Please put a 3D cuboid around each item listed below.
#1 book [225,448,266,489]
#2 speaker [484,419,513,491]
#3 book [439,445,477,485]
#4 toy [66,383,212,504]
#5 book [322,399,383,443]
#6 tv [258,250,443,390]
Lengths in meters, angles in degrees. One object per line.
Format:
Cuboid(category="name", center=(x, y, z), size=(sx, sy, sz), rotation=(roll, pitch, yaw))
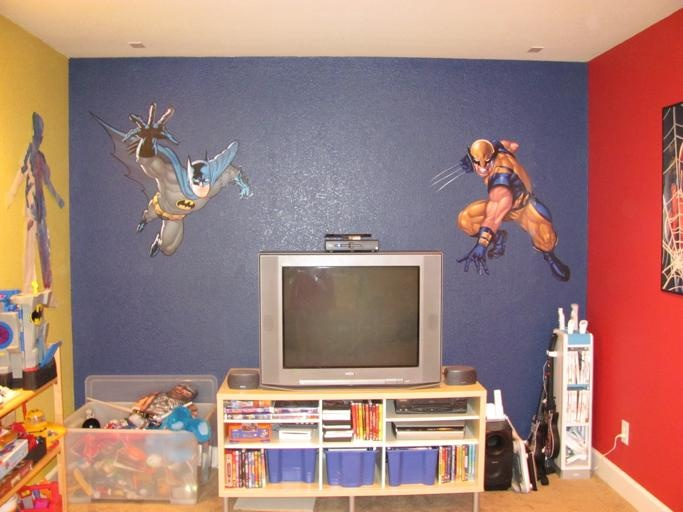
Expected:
Cuboid(category="book", center=(-0.608, 1.379, 4.189), size=(0.309, 0.312, 0.230), rotation=(1, -1, 0))
Cuboid(category="speaker", center=(1.056, 1.419, 4.458), size=(0.260, 0.475, 0.254), rotation=(-1, 2, -2))
Cuboid(category="book", center=(0.757, 1.385, 4.153), size=(0.230, 0.315, 0.321), rotation=(0, -2, 2))
Cuboid(category="toy", center=(-1.390, 1.366, 4.281), size=(1.220, 0.901, 0.681), rotation=(0, -1, -3))
Cuboid(category="book", center=(0.066, 1.099, 4.093), size=(0.390, 0.247, 0.039), rotation=(0, -1, -3))
Cuboid(category="tv", center=(0.038, 0.463, 4.474), size=(1.320, 0.954, 0.722), rotation=(0, 1, -4))
